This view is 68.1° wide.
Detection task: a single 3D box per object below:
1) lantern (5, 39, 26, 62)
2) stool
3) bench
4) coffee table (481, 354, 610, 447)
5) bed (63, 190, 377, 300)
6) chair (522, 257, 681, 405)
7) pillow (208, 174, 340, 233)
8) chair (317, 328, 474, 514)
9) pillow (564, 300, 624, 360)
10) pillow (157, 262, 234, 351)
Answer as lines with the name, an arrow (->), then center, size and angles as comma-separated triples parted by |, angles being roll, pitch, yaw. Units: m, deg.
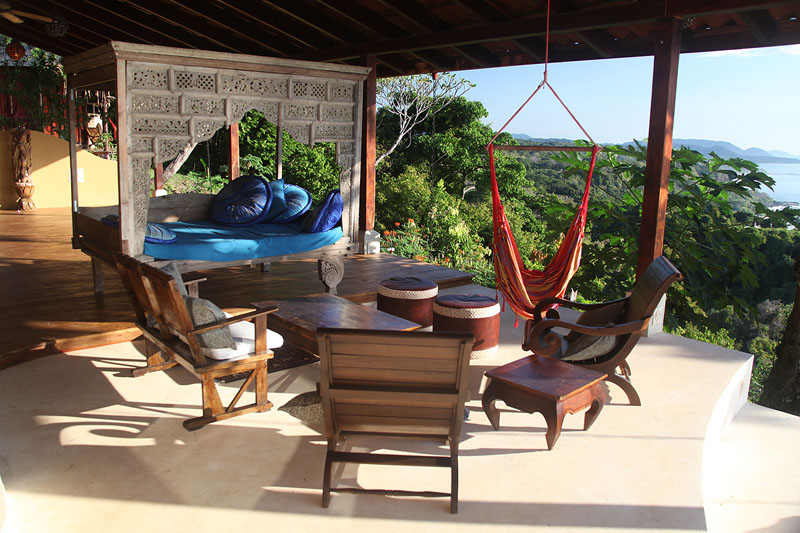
lantern -> -6.133, -3.457, 9.448 | 0.216, 0.355, 0.799 | -4, 13, -28
stool -> 0.526, 0.118, 5.974 | 1.509, 0.445, 0.709 | 9, 12, 44
bench -> -1.534, 0.514, 5.227 | 1.470, 1.277, 1.663 | -1, 9, -24
coffee table -> 1.179, 1.060, 4.777 | 0.744, 0.584, 0.700 | 11, 14, 35
bed -> -2.519, -0.228, 7.891 | 2.628, 0.939, 2.912 | 5, 6, 45
chair -> 1.859, 0.506, 5.334 | 1.248, 1.369, 1.018 | 5, 8, 23
pillow -> -1.740, -0.853, 8.052 | 1.441, 0.424, 0.980 | 2, 38, 4
chair -> -0.048, 0.958, 4.397 | 1.349, 1.175, 1.048 | 2, 8, 1
pillow -> 1.698, 0.584, 5.211 | 0.546, 0.543, 0.642 | 4, 23, 3
pillow -> -1.394, 0.378, 4.706 | 0.227, 0.689, 0.623 | -35, 33, -15
